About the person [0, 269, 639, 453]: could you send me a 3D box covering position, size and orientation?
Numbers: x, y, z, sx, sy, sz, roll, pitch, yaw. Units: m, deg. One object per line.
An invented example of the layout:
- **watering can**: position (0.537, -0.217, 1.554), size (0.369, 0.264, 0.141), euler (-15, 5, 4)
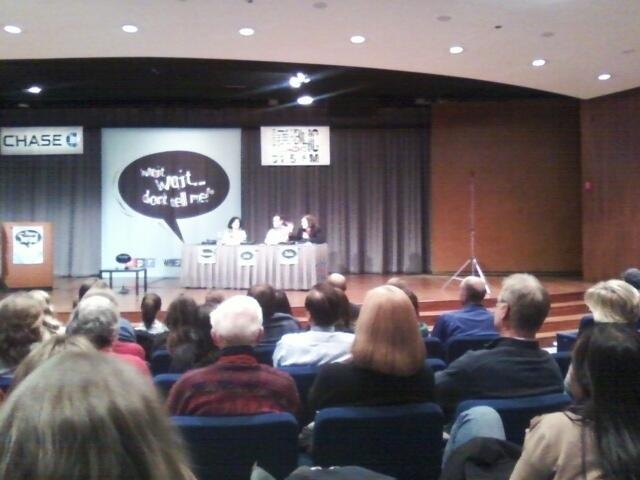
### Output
- **person**: position (0.064, 0.544, 2.751), size (1.659, 0.704, 0.399), euler (0, -11, 6)

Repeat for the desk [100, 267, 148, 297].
- **desk**: position (-2.659, 0.573, 8.004), size (0.537, 0.326, 0.508), euler (1, 1, -1)
